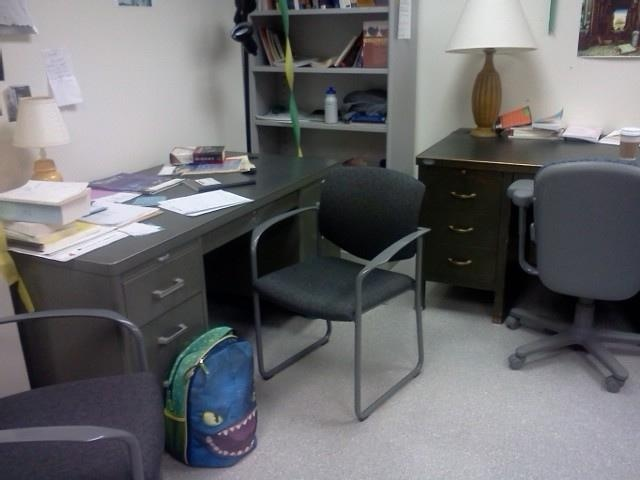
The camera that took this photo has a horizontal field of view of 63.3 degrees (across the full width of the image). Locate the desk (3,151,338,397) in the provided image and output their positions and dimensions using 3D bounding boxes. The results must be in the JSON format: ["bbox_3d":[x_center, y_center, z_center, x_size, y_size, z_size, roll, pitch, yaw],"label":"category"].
[{"bbox_3d":[-0.611,0.132,2.138,0.460,0.505,0.996,7,23,19],"label":"desk"}]

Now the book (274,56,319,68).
[{"bbox_3d":[-0.135,-1.188,3.496,0.336,0.057,0.288,-11,22,-20],"label":"book"}]

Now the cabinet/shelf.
[{"bbox_3d":[0.081,-1.016,3.379,1.062,1.162,0.334,7,19,22],"label":"cabinet/shelf"}]

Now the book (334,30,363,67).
[{"bbox_3d":[0.178,-1.225,3.369,0.208,0.202,0.098,-3,20,1],"label":"book"}]

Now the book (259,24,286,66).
[{"bbox_3d":[-0.319,-1.312,3.520,0.058,0.257,0.240,0,12,39],"label":"book"}]

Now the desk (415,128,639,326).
[{"bbox_3d":[1.037,0.031,2.904,0.812,0.827,0.627,4,1,23],"label":"desk"}]

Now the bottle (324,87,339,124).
[{"bbox_3d":[0.075,-0.898,3.473,0.091,0.226,0.142,-3,20,1],"label":"bottle"}]

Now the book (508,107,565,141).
[{"bbox_3d":[1.335,-0.718,3.100,0.193,0.093,0.268,4,22,29],"label":"book"}]

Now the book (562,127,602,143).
[{"bbox_3d":[1.499,-0.602,2.956,0.156,0.040,0.156,13,30,32],"label":"book"}]
